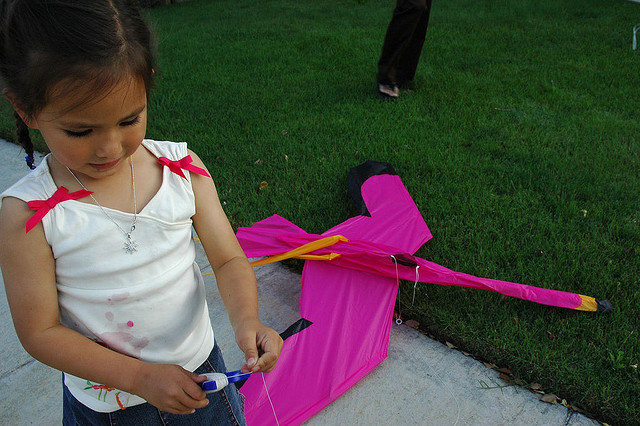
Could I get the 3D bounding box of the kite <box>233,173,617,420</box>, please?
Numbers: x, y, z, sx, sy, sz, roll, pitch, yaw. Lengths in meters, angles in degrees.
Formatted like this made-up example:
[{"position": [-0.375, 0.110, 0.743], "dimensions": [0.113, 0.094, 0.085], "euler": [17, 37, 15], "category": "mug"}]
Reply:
[{"position": [0.300, 0.362, 3.227], "dimensions": [2.023, 0.319, 1.683], "euler": [-20, 49, -18], "category": "kite"}]
